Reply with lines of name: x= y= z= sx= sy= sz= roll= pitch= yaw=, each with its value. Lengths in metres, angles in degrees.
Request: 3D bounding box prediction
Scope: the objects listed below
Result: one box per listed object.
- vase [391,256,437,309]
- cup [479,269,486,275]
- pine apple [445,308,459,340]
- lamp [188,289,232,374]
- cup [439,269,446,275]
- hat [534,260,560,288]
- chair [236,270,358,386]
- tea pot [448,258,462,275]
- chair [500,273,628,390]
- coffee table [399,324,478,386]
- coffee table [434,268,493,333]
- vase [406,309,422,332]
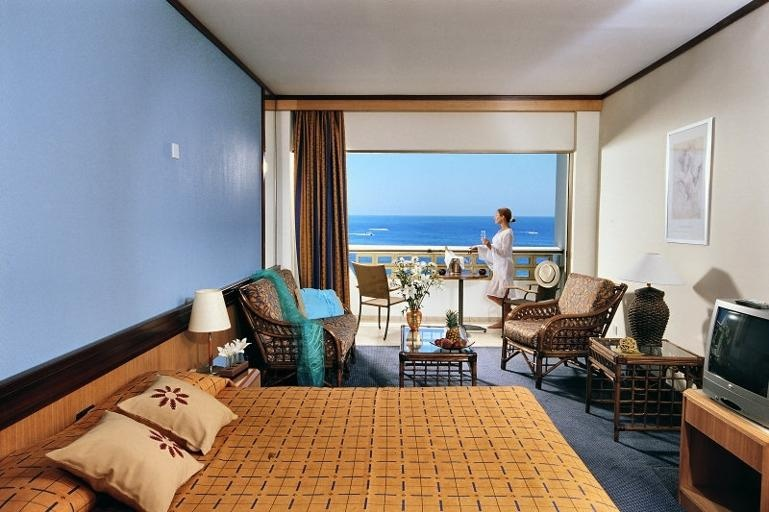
vase: x=0.358 y=0.303 z=5.386 sx=0.447 sy=0.623 sz=0.495 roll=0 pitch=9 yaw=5
cup: x=1.496 y=0.241 z=7.665 sx=0.087 sy=0.068 sz=0.087 roll=0 pitch=-3 yaw=0
pine apple: x=0.693 y=0.694 z=5.095 sx=0.131 sy=0.226 sz=0.394 roll=1 pitch=9 yaw=8
lamp: x=-1.508 y=0.623 z=4.286 sx=0.317 sy=0.733 sz=0.530 roll=-5 pitch=10 yaw=-22
cup: x=0.867 y=0.234 z=7.528 sx=0.114 sy=0.101 sz=0.091 roll=8 pitch=2 yaw=12
hat: x=2.386 y=0.266 z=7.279 sx=0.374 sy=0.379 sz=0.137 roll=18 pitch=8 yaw=34
chair: x=-0.878 y=0.732 z=5.329 sx=1.077 sy=1.054 sz=1.818 roll=-1 pitch=4 yaw=-1
tea pot: x=1.053 y=0.145 z=7.462 sx=0.223 sy=0.213 sz=0.218 roll=1 pitch=7 yaw=0
chair: x=1.967 y=0.785 z=5.789 sx=1.427 sy=1.248 sz=1.089 roll=-1 pitch=1 yaw=-11
coffee table: x=0.535 y=1.084 z=5.171 sx=0.607 sy=0.476 sz=1.010 roll=1 pitch=-4 yaw=5
coffee table: x=1.214 y=0.683 z=7.591 sx=0.838 sy=0.834 sz=0.844 roll=1 pitch=1 yaw=10
vase: x=0.311 y=0.679 z=5.360 sx=0.207 sy=0.234 sz=0.209 roll=0 pitch=-6 yaw=3
